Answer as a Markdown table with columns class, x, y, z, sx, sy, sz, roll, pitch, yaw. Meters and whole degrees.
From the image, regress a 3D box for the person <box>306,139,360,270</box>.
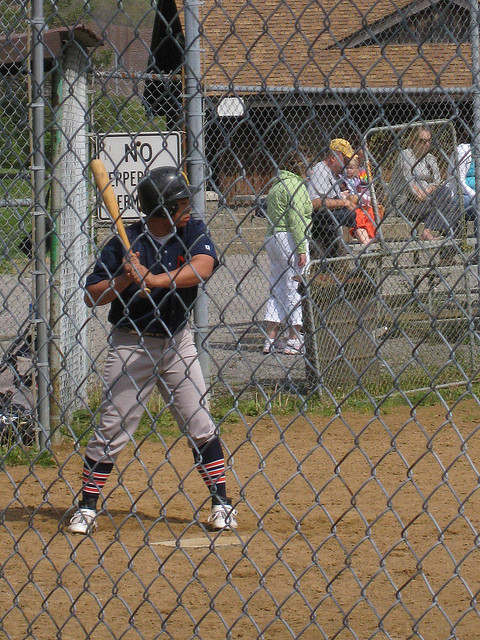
| class | x | y | z | sx | sy | sz | roll | pitch | yaw |
| --- | --- | --- | --- | --- | --- | --- | --- | --- | --- |
| person | 0.583 | -0.754 | 6.656 | 0.395 | 0.759 | 0.326 | 2 | 31 | 12 |

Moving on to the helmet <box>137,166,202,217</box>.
| class | x | y | z | sx | sy | sz | roll | pitch | yaw |
| --- | --- | --- | --- | --- | --- | --- | --- | --- | --- |
| helmet | -0.312 | -0.563 | 4.543 | 0.264 | 0.207 | 0.199 | -12 | 23 | -23 |
